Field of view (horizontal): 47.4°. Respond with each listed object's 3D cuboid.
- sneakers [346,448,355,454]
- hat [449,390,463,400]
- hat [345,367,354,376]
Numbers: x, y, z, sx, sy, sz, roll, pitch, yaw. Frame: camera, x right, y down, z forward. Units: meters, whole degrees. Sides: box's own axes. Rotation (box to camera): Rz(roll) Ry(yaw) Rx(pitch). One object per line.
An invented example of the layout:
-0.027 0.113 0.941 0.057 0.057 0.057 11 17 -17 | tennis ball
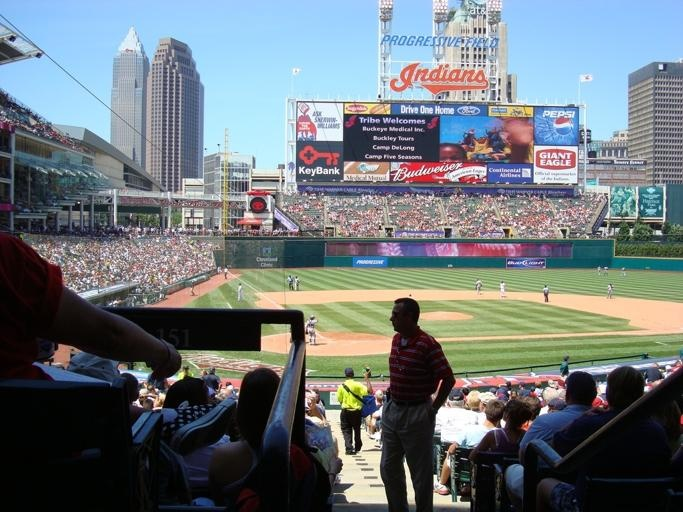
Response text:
0.112 2.662 10.583 0.155 0.108 0.053 -1 1 14 | sneakers
1.625 1.997 11.057 0.189 0.090 0.275 0 0 3 | hat
0.090 1.645 11.009 0.130 0.113 0.181 1 -9 27 | hat
